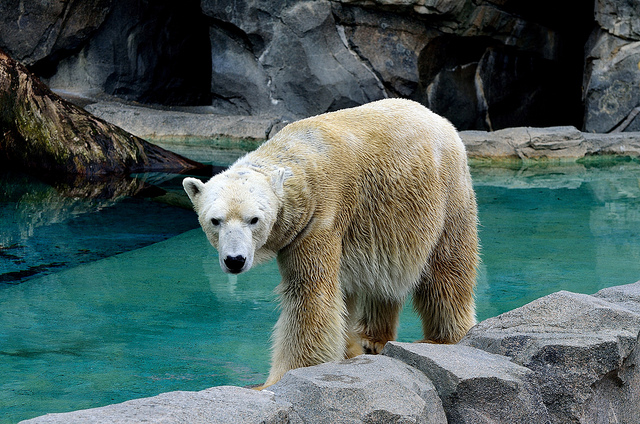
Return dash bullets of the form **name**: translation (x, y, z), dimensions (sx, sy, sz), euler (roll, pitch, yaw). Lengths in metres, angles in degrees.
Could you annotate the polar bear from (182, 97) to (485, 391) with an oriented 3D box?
- **polar bear**: translation (0.358, 0.258, 6.402), dimensions (2.086, 2.203, 2.712), euler (2, 11, 11)
